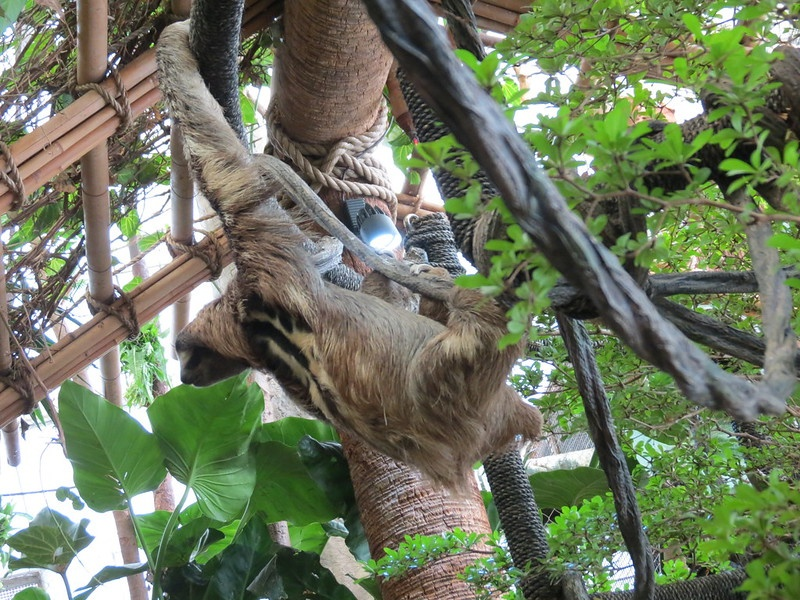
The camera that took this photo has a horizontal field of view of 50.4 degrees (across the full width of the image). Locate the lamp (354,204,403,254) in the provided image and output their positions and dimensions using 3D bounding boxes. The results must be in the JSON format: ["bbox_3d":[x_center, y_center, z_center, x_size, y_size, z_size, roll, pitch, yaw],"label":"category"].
[{"bbox_3d":[-0.055,-0.159,1.907,0.107,0.103,0.158,-8,19,-12],"label":"lamp"}]
